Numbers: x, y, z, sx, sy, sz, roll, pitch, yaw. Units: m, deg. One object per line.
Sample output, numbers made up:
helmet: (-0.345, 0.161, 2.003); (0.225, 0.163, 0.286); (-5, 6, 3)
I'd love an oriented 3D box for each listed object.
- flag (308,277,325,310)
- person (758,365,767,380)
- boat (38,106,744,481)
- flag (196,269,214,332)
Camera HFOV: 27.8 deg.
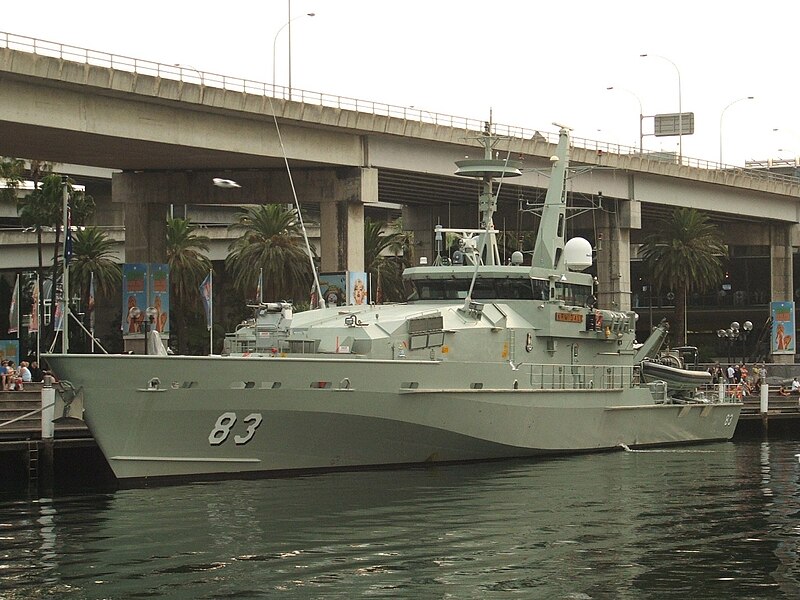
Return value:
flag: (-3.035, -0.297, 59.873); (0.523, 1.617, 0.415); (-3, -27, -15)
person: (16.289, 3.222, 72.241); (0.377, 0.541, 0.917); (-4, -14, 19)
boat: (-2.822, 0.893, 51.222); (24.407, 11.087, 7.738); (0, 1, -39)
flag: (-7.156, 0.088, 60.144); (0.608, 2.623, 0.094); (-11, -14, 43)
